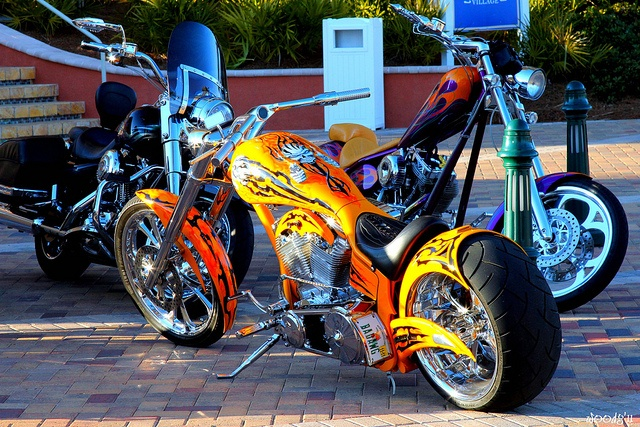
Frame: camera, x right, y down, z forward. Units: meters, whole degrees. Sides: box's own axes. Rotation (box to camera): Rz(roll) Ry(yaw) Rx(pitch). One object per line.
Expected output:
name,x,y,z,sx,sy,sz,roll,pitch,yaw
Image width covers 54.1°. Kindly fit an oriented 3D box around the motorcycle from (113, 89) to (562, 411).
motorcycle,-0.058,0.242,4.046,3.068,1.573,1.162,8,11,28
